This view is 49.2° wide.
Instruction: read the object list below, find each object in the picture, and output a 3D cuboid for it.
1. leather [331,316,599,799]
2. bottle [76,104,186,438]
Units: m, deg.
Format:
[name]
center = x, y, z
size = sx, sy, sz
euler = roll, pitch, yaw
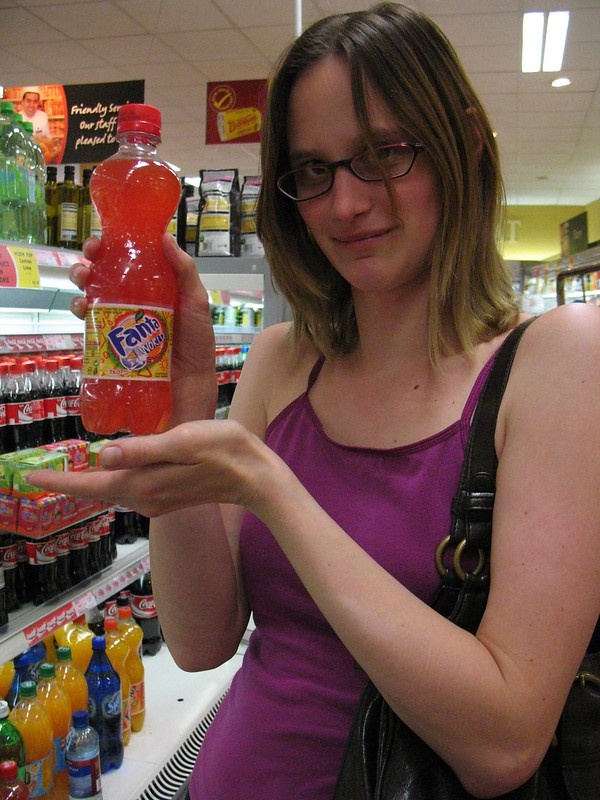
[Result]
[leather]
center = 0.245, 0.203, 0.797
size = 0.259, 0.565, 0.417
euler = 5, 10, 43
[bottle]
center = -0.270, -0.175, 1.036
size = 0.176, 0.524, 0.380
euler = -3, 8, -10
